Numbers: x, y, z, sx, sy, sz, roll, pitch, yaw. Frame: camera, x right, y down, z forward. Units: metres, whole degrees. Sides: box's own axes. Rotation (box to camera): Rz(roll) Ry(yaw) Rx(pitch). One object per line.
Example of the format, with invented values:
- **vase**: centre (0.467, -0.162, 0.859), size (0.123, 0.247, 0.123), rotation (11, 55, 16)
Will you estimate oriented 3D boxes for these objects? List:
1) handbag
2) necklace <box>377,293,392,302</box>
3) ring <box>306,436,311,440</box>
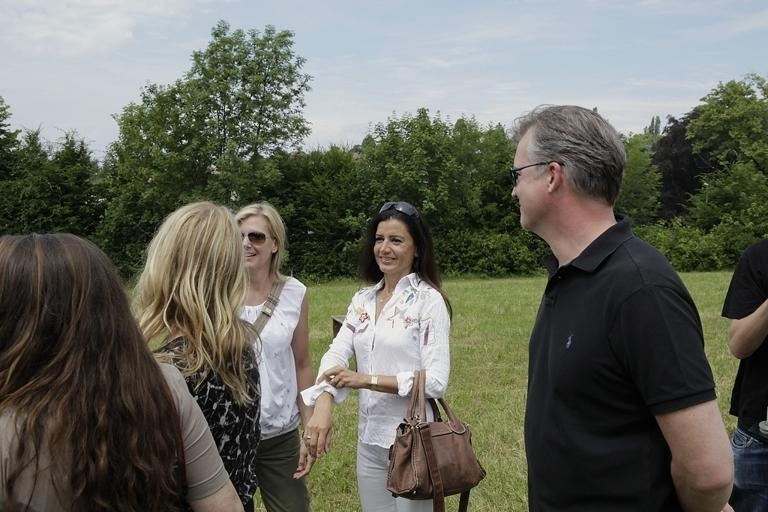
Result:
- **handbag**: centre (0.297, 1.074, 3.685), size (0.407, 0.714, 0.495), rotation (0, 2, 41)
- **necklace**: centre (-0.010, 0.289, 4.434), size (0.077, 0.025, 0.076), rotation (0, 43, 4)
- **ring**: centre (-0.477, 1.113, 3.827), size (0.040, 0.024, 0.020), rotation (0, 1, 20)
